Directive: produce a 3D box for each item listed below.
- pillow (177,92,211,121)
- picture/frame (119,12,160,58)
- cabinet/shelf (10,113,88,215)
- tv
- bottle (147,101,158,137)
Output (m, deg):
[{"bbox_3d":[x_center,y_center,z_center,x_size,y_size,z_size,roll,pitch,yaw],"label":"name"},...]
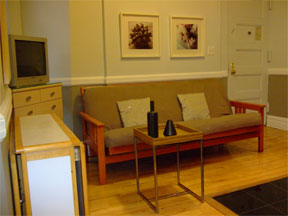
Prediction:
[{"bbox_3d":[0.734,-0.040,3.597,0.437,0.410,0.130,-5,-20,-27],"label":"pillow"},{"bbox_3d":[-0.089,-1.138,3.654,0.730,0.704,0.073,-1,5,-23],"label":"picture/frame"},{"bbox_3d":[-0.589,0.352,1.456,0.244,0.377,0.757,-4,11,-23],"label":"cabinet/shelf"},{"bbox_3d":[-1.438,-0.588,3.021,0.145,0.618,0.546,2,11,21],"label":"tv"},{"bbox_3d":[0.083,0.091,2.254,0.093,0.340,0.201,-2,10,2],"label":"bottle"}]
